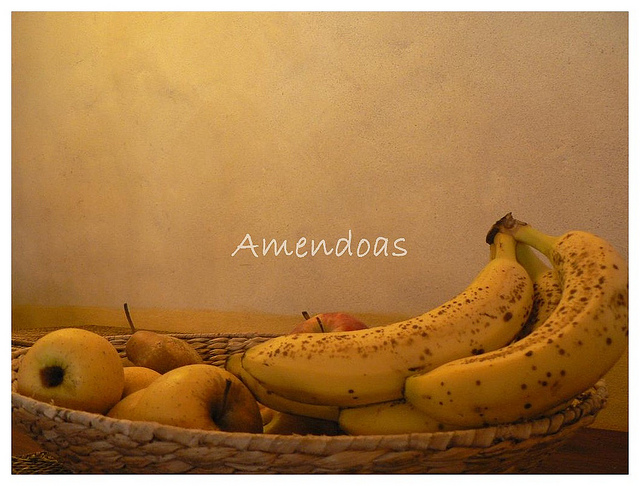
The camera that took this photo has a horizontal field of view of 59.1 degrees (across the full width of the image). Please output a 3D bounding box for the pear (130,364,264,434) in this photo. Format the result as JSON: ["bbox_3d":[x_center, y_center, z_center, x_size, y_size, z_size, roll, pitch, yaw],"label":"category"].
[{"bbox_3d":[-0.271,0.296,1.205,0.232,0.139,0.245,-4,-4,31],"label":"pear"}]

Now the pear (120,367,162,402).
[{"bbox_3d":[-0.395,0.303,1.277,0.085,0.046,0.067,-6,17,26],"label":"pear"}]

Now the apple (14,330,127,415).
[{"bbox_3d":[-0.504,0.267,1.251,0.190,0.182,0.198,22,-11,-5],"label":"apple"}]
